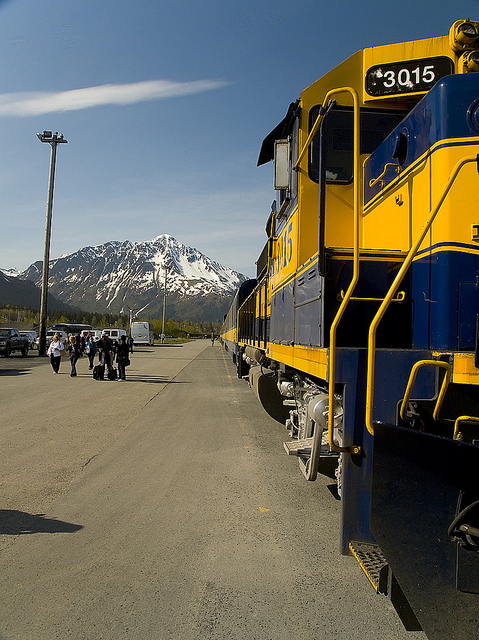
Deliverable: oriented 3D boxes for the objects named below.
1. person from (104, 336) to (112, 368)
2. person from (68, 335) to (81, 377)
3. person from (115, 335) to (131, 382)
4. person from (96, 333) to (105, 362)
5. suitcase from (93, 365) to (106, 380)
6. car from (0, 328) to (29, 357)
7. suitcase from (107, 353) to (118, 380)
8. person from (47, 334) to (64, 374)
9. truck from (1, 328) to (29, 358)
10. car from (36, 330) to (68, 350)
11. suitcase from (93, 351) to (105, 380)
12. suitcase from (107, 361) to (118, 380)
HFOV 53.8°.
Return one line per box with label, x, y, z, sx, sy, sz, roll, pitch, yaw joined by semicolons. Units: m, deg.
person;-5.058;1.216;18.118;0.234;1.144;1.293;0;1;-16
person;-6.997;1.514;20.029;0.377;1.748;3.452;0;1;-19
person;-4.380;1.452;17.574;0.471;1.612;1.162;0;1;-17
person;-5.487;1.116;18.671;0.231;1.080;2.031;0;1;-17
suitcase;-5.248;2.011;17.775;0.349;0.529;0.760;0;15;-8
car;-15.158;1.491;31.344;0.829;1.157;1.957;-3;-17;5
suitcase;-4.702;1.761;17.553;0.205;0.935;0.719;-1;-1;-10
person;-7.418;1.447;19.086;0.477;1.704;2.072;0;1;-22
truck;-15.192;1.507;31.431;0.917;1.225;2.159;-3;-15;8
car;-12.805;1.451;32.220;0.877;1.189;1.675;-4;-11;26
suitcase;-5.290;1.743;17.865;0.367;1.038;0.759;0;1;-18
suitcase;-4.726;1.759;17.511;0.283;0.818;0.654;-1;2;-11
